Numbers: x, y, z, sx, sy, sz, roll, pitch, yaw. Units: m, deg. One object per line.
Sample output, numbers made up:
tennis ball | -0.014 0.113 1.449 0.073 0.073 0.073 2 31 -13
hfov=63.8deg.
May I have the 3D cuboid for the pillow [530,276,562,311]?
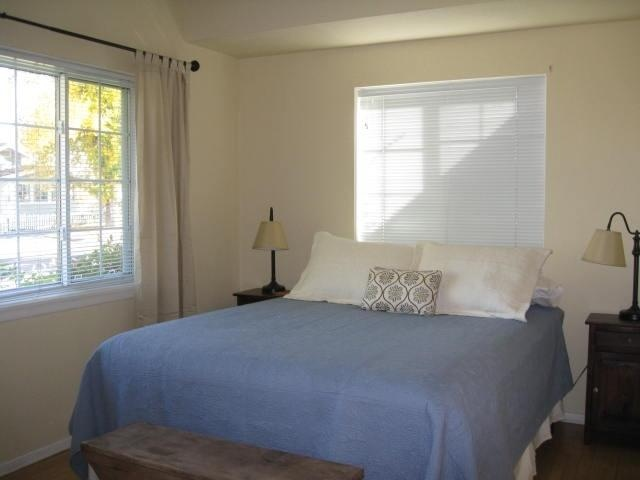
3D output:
pillow | 1.604 0.376 3.650 0.237 0.089 0.184 -8 19 -32
